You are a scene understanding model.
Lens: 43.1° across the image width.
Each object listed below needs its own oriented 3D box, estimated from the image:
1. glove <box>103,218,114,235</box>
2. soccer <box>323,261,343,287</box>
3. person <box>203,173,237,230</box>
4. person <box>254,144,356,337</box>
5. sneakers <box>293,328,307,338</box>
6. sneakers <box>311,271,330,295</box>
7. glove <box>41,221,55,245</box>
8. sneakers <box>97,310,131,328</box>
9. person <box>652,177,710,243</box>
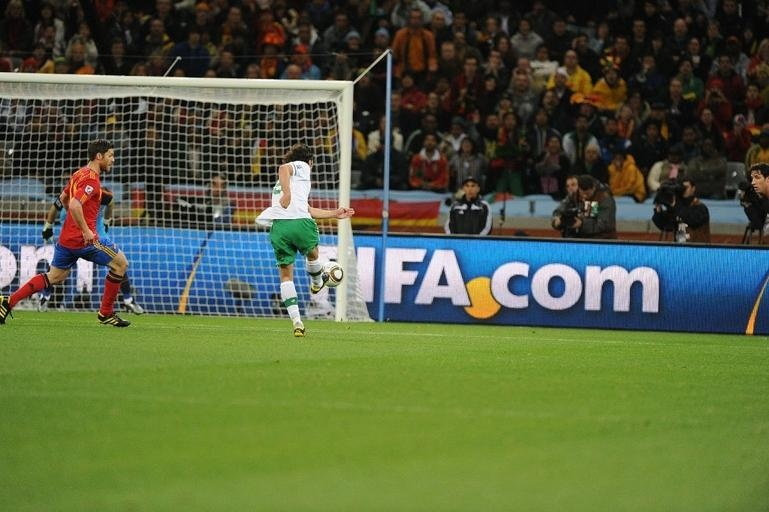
[{"bbox_3d":[-4.260,-0.460,15.033,0.127,0.159,0.469,19,-3,-18],"label":"glove"},{"bbox_3d":[-0.664,0.234,13.626,0.263,0.337,0.314,8,47,5],"label":"soccer"},{"bbox_3d":[-2.758,-0.887,16.381,0.529,0.803,0.822,1,3,-10],"label":"person"},{"bbox_3d":[-1.145,-0.237,13.239,1.159,2.553,1.363,2,3,-3],"label":"person"},{"bbox_3d":[-1.123,0.994,12.712,0.106,0.108,0.128,3,12,5],"label":"sneakers"},{"bbox_3d":[-0.890,0.366,13.588,0.195,0.383,0.170,25,0,24],"label":"sneakers"},{"bbox_3d":[-5.076,-0.341,14.731,0.234,0.310,0.110,5,19,-10],"label":"glove"},{"bbox_3d":[-3.710,0.881,13.463,0.501,0.240,0.181,2,-1,-6],"label":"sneakers"},{"bbox_3d":[5.149,-0.814,17.076,0.678,1.086,0.924,0,4,-32],"label":"person"}]
